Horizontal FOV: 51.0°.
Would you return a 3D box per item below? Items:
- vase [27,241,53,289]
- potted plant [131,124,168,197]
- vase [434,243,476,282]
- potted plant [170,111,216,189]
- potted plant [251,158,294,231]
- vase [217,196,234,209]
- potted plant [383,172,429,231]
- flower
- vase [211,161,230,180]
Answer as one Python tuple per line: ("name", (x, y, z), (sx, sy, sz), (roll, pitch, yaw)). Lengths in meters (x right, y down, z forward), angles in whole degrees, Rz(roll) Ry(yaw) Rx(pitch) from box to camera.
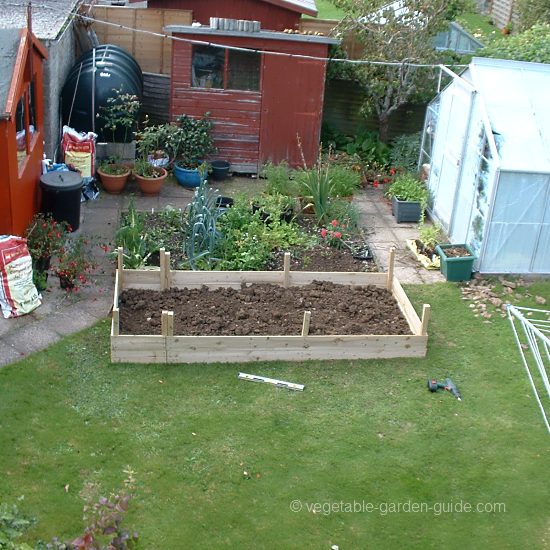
("vase", (-3.211, -0.128, 7.823), (0.128, 0.080, 0.786), (1, 43, -15))
("potted plant", (-2.379, -2.117, 10.784), (0.696, 1.262, 0.711), (11, 20, 25))
("vase", (2.896, -0.094, 8.855), (0.545, 0.511, 0.749), (8, -3, 31))
("potted plant", (-1.619, -2.445, 11.349), (0.797, 1.369, 1.078), (1, 20, -5))
("potted plant", (-0.012, -1.355, 10.173), (0.780, 0.564, 1.130), (-2, 49, -2))
("vase", (-0.887, -1.284, 10.112), (0.296, 0.181, 0.721), (0, 21, -6))
("potted plant", (2.471, -1.376, 10.658), (0.627, 0.721, 0.691), (6, 21, 8))
("flower", (-3.007, -0.283, 8.196), (1.195, 0.918, 1.096), (15, 37, -26))
("vase", (-1.129, -2.090, 11.763), (0.358, 0.271, 0.369), (-13, 47, -11))
